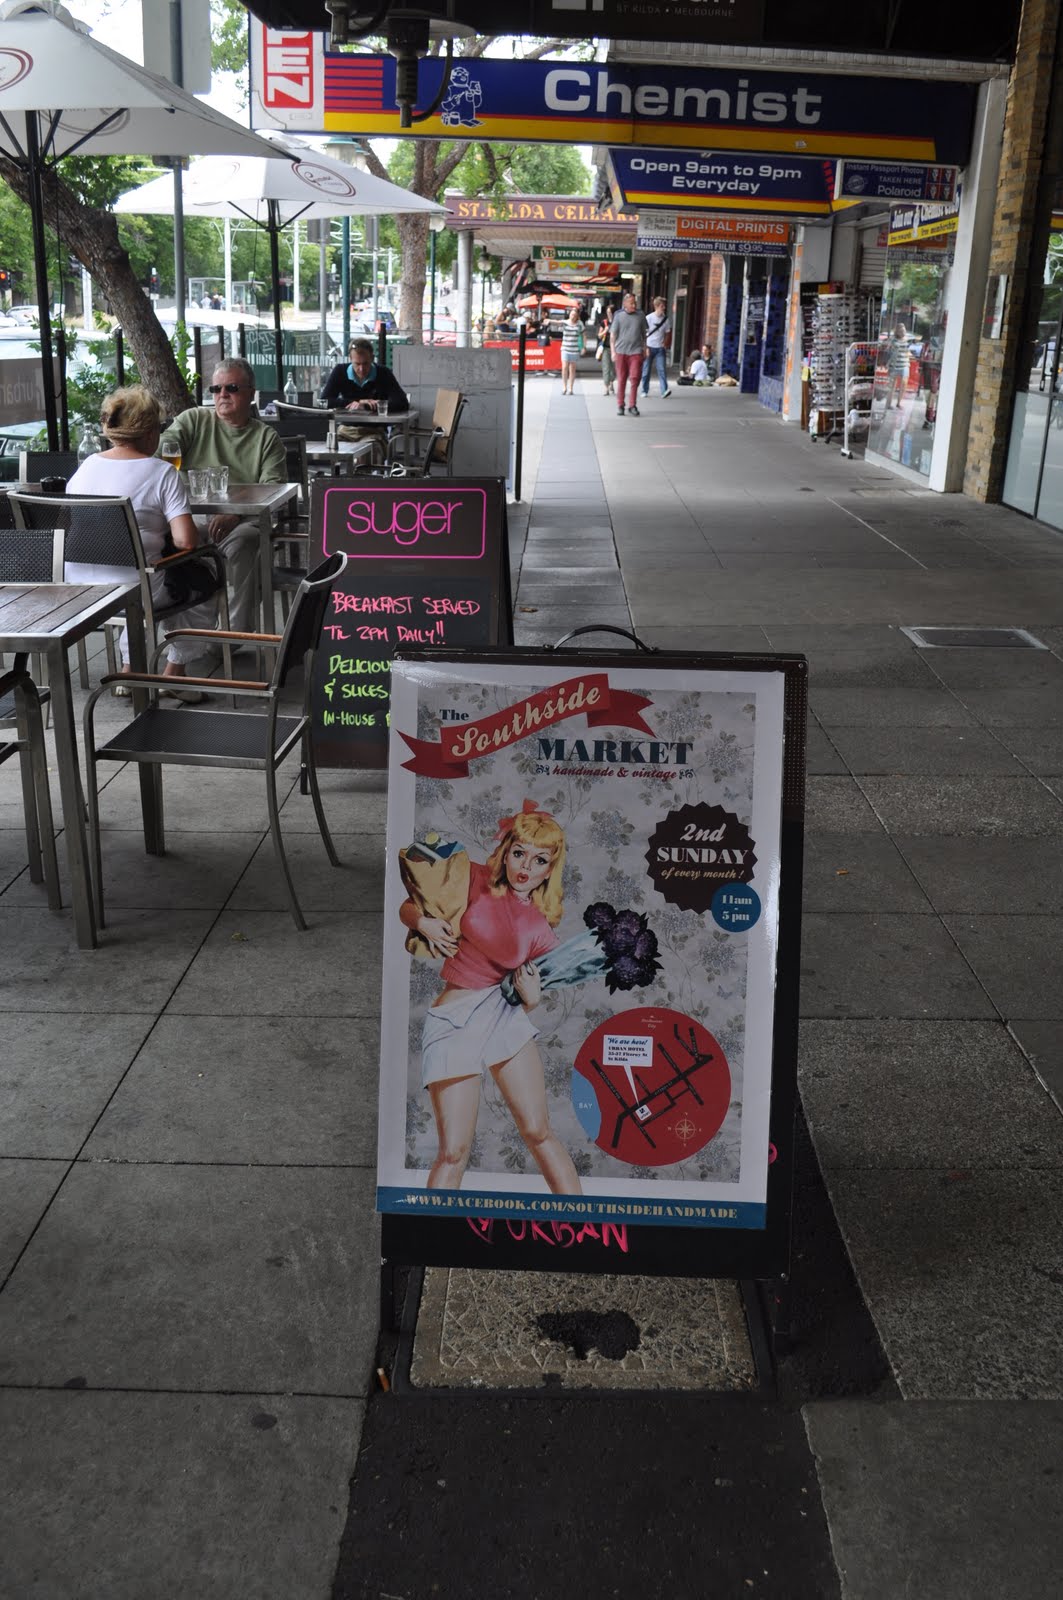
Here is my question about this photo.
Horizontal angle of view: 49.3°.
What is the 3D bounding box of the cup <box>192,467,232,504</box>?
[{"bbox_3d":[-1.668,-1.615,6.048,0.214,0.220,0.218,1,-1,0],"label":"cup"}]
